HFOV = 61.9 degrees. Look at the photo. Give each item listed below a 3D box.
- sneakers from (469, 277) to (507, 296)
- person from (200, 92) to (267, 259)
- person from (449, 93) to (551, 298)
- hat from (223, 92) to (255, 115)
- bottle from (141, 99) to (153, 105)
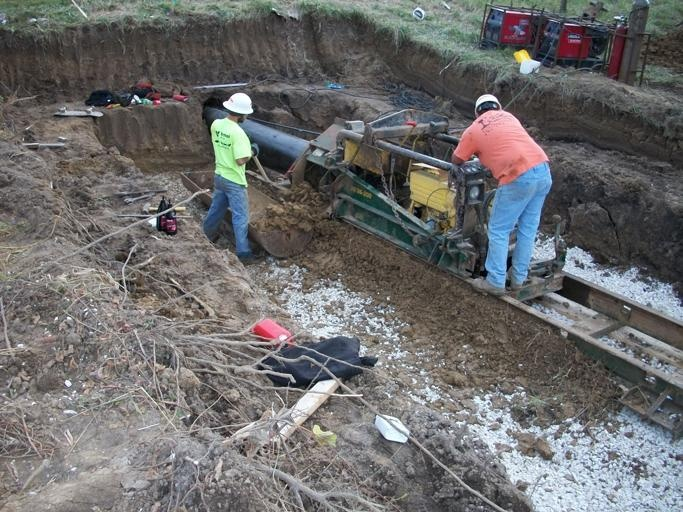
[{"bbox_3d":[1.724,0.359,6.759,0.409,0.182,0.163,23,40,33],"label":"sneakers"},{"bbox_3d":[-1.511,-1.086,7.911,0.893,2.165,0.640,27,37,34],"label":"person"},{"bbox_3d":[1.831,-0.590,6.601,1.034,1.935,0.728,23,35,29],"label":"person"},{"bbox_3d":[-1.343,-2.024,7.680,0.387,0.183,0.321,-18,57,-47],"label":"hat"},{"bbox_3d":[-3.599,-2.858,10.553,0.116,0.049,0.160,-20,43,-37],"label":"bottle"}]
